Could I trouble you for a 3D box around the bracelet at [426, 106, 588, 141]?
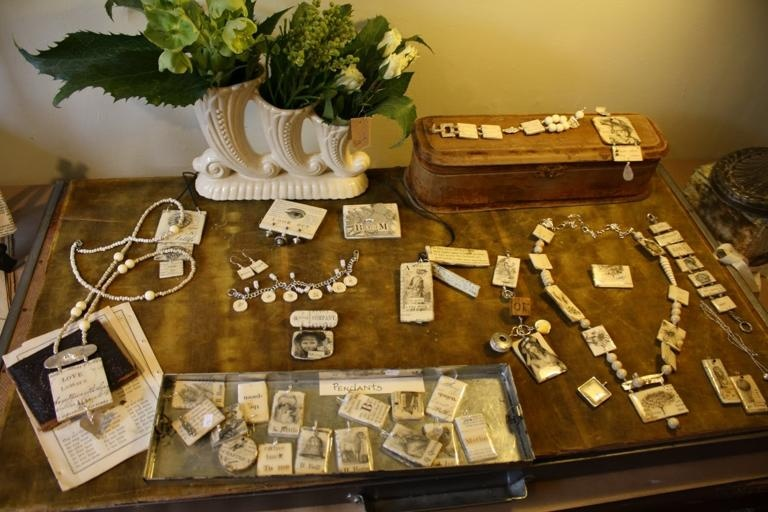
[{"bbox_3d":[0.635,-0.704,2.887,0.952,0.159,0.218,-3,52,-5],"label":"bracelet"}]
